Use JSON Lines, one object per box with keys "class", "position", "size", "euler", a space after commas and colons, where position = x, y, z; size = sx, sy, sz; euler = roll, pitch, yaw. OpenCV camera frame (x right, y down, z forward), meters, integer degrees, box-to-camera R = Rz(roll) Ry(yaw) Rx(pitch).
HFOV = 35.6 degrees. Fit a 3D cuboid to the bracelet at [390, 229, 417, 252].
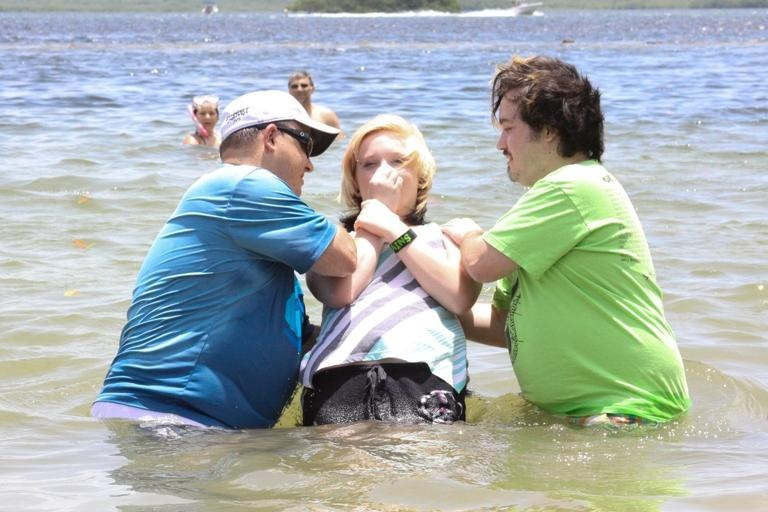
{"class": "bracelet", "position": [0.198, -0.148, 12.033], "size": [0.261, 0.095, 0.263], "euler": [-31, 0, -27]}
